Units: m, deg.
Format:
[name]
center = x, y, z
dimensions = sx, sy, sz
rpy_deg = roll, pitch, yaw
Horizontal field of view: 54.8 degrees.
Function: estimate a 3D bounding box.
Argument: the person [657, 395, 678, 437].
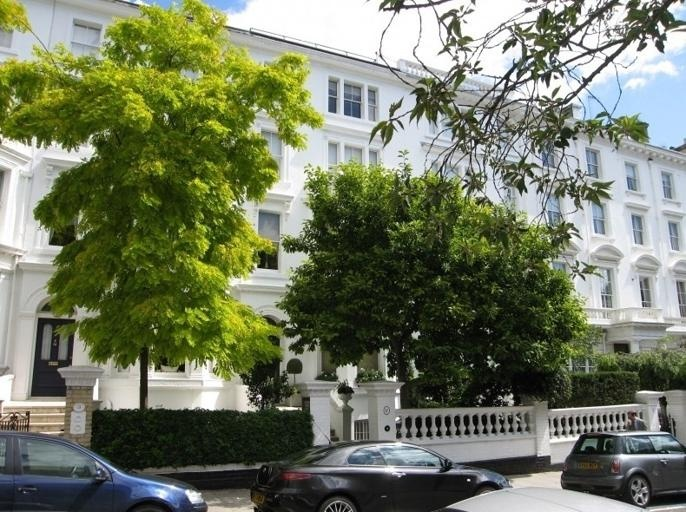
[person]
center = 10.992, 5.504, 22.460
dimensions = 0.358, 1.353, 0.498
rpy_deg = -3, -2, -43
